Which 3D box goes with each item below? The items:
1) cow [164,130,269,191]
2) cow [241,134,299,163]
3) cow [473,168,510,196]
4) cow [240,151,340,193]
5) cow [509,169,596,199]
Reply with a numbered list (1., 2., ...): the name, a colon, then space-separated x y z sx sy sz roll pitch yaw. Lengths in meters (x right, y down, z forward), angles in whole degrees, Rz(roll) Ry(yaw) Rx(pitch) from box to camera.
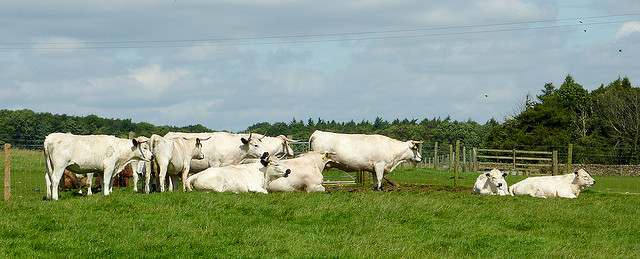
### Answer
1. cow: -15.433 4.261 126.412 15.694 6.481 3.961 -3 6 -15
2. cow: -6.357 2.468 127.633 9.388 3.725 2.789 -5 1 -8
3. cow: 23.972 7.598 126.968 2.704 3.552 7.564 2 1 36
4. cow: -4.740 5.931 126.652 13.987 4.519 4.249 -2 0 -7
5. cow: 32.261 7.973 126.297 11.865 3.589 3.597 -4 0 12
